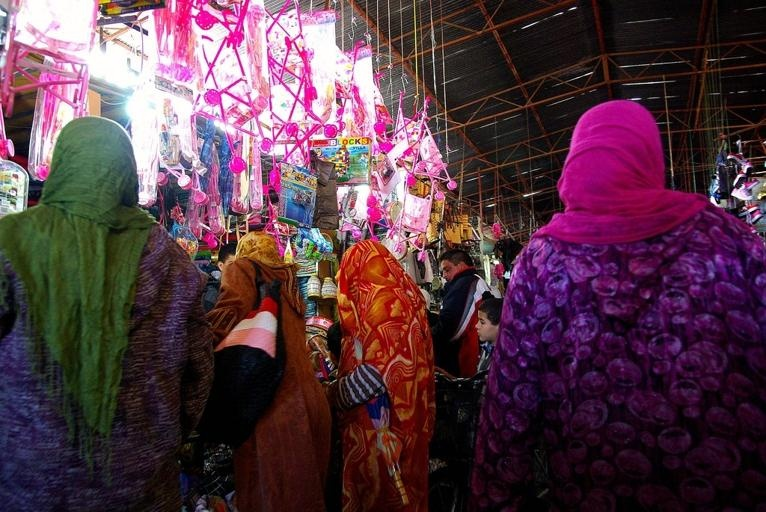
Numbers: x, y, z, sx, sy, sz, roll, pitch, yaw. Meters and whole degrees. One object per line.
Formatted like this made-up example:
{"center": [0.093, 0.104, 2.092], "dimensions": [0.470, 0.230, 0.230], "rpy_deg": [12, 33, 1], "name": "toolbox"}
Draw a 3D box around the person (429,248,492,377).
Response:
{"center": [0.552, 0.427, 3.749], "dimensions": [0.405, 0.996, 0.429], "rpy_deg": [0, -33, 15], "name": "person"}
